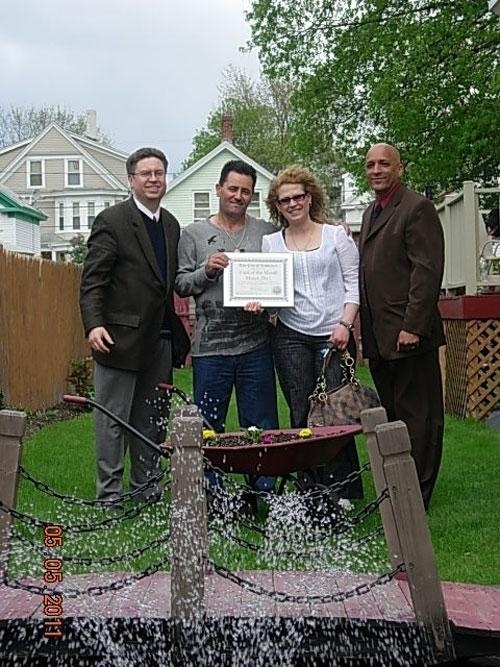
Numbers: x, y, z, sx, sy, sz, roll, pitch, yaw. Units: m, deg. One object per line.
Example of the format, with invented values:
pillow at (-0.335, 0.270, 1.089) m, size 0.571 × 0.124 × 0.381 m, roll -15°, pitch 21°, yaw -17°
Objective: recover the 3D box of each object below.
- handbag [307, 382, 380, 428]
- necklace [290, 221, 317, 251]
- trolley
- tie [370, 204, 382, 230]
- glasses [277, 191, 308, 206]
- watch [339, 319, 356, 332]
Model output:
handbag at (0.505, 0.392, 3.417) m, size 0.308 × 0.245 × 0.149 m, roll -10°, pitch -4°, yaw 6°
necklace at (0.341, -0.595, 3.892) m, size 0.252 × 0.166 × 0.070 m, roll -9°, pitch -11°, yaw 1°
trolley at (-0.219, 0.573, 3.249) m, size 1.554 × 0.577 × 0.725 m, roll 2°, pitch 1°, yaw 9°
tie at (0.809, -0.758, 4.052) m, size 0.037 × 0.142 × 0.084 m, roll 19°, pitch -7°, yaw -39°
glasses at (0.265, -0.825, 3.828) m, size 0.170 × 0.088 × 0.097 m, roll 2°, pitch 8°, yaw 4°
watch at (0.596, -0.052, 3.797) m, size 0.077 × 0.041 × 0.070 m, roll 15°, pitch 5°, yaw 6°
